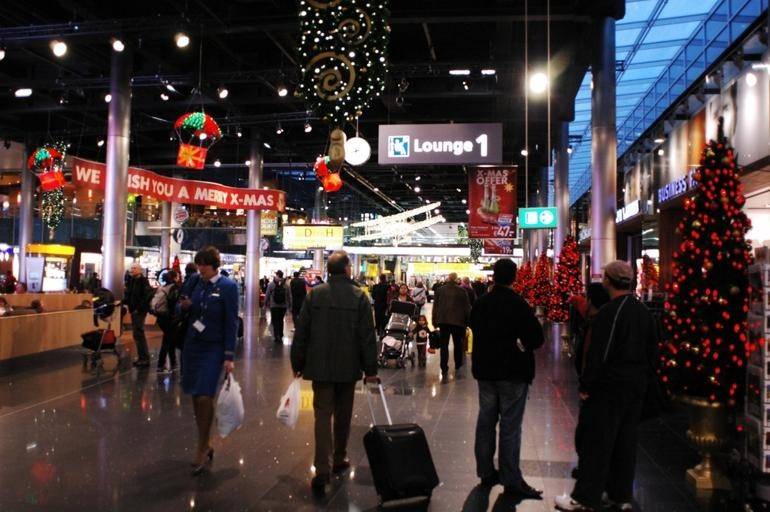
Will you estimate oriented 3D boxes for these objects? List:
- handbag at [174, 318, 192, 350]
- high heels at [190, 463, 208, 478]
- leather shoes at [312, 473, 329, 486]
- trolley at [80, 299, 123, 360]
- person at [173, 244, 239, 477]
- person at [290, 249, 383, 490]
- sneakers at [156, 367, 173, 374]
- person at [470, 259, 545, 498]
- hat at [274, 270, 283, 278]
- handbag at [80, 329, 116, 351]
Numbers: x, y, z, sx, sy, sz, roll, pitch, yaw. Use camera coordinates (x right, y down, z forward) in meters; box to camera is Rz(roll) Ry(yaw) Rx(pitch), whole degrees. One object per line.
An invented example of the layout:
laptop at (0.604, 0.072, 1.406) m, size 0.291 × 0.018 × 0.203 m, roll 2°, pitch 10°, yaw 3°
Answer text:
handbag at (-2.685, 1.035, 8.539) m, size 0.097 × 0.381 × 0.394 m, roll 9°, pitch -10°, yaw -29°
high heels at (-2.350, 2.695, 8.233) m, size 0.237 × 0.128 × 0.187 m, roll 4°, pitch -3°, yaw -34°
leather shoes at (-0.787, 2.721, 7.917) m, size 0.216 × 0.163 × 0.139 m, roll 3°, pitch -3°, yaw -18°
trolley at (-6.376, 1.581, 14.626) m, size 0.796 × 1.335 × 0.873 m, roll -8°, pitch 1°, yaw -40°
person at (-2.330, 1.311, 8.395) m, size 0.752 × 2.850 × 0.401 m, roll 2°, pitch -3°, yaw -9°
person at (-0.648, 1.393, 8.181) m, size 1.078 × 2.942 × 0.625 m, roll 3°, pitch -3°, yaw -11°
sneakers at (-4.513, 2.342, 13.190) m, size 0.323 × 0.113 × 0.140 m, roll -5°, pitch -36°, yaw 16°
person at (1.486, 1.467, 8.042) m, size 0.882 × 2.886 × 0.395 m, roll 2°, pitch -3°, yaw 7°
hat at (-2.929, 0.523, 17.905) m, size 0.215 × 0.280 × 0.272 m, roll -6°, pitch 3°, yaw -13°
handbag at (-6.323, 1.798, 14.166) m, size 0.614 × 0.438 × 0.490 m, roll -8°, pitch -9°, yaw 22°
